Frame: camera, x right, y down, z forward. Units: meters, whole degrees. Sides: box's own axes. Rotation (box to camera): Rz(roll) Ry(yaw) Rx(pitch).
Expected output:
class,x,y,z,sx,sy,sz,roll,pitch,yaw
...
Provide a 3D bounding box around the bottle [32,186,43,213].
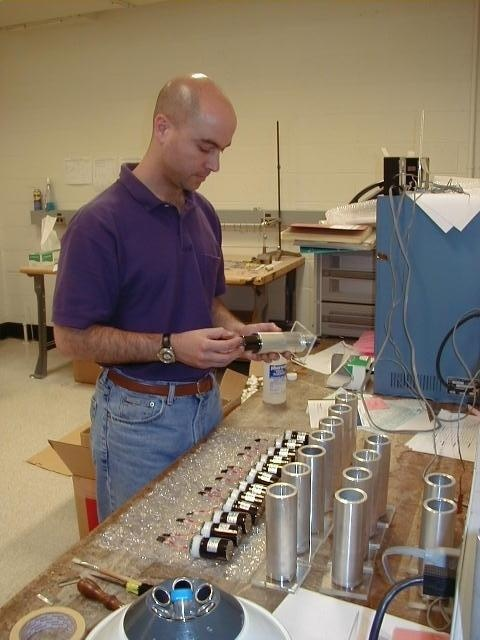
class,x,y,z,sx,sy,sz,roll,pitch,yaw
bottle,-1.830,-1.081,4.788,0.076,0.203,0.088,-4,11,-26

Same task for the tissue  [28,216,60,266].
class,x,y,z,sx,sy,sz,roll,pitch,yaw
tissue ,-1.594,-0.631,4.279,0.245,0.372,0.264,-3,17,-16

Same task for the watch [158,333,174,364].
class,x,y,z,sx,sy,sz,roll,pitch,yaw
watch,-0.156,0.063,1.123,0.036,0.061,0.057,-1,29,3

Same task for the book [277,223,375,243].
class,x,y,z,sx,sy,sz,roll,pitch,yaw
book,0.265,-0.255,1.571,0.266,0.057,0.136,3,11,10
